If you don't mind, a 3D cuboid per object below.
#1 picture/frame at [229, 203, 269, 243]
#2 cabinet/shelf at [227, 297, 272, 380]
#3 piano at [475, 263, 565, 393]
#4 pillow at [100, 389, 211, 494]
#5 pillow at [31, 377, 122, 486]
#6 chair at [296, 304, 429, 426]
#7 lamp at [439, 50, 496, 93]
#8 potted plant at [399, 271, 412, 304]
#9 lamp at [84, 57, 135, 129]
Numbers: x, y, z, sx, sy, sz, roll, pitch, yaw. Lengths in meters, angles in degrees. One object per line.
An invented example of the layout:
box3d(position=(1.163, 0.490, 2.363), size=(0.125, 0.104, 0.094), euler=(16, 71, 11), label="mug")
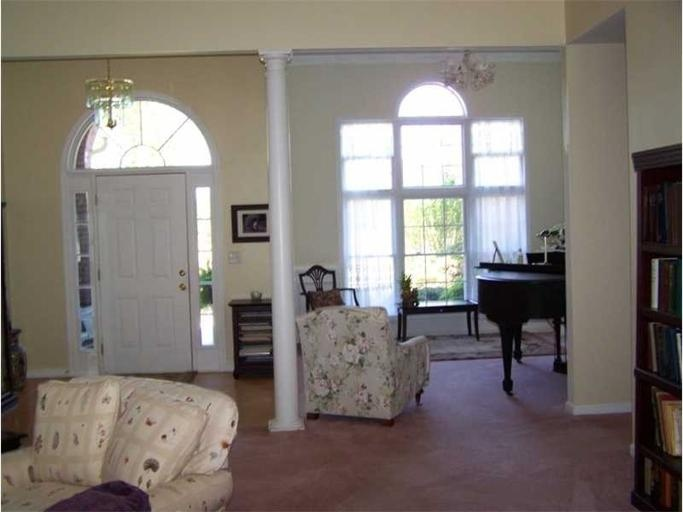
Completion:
box3d(position=(-1.073, -0.380, 6.848), size=(0.391, 0.422, 0.030), euler=(0, 0, -5), label="picture/frame")
box3d(position=(-0.981, 0.898, 6.808), size=(0.586, 0.871, 0.554), euler=(-4, 6, -21), label="cabinet/shelf")
box3d(position=(1.856, 0.712, 6.214), size=(1.303, 1.226, 0.791), euler=(-3, 11, -34), label="piano")
box3d(position=(-0.988, 1.009, 3.258), size=(0.444, 0.498, 0.203), euler=(9, -22, 36), label="pillow")
box3d(position=(-1.491, 1.022, 3.363), size=(0.452, 0.541, 0.177), euler=(-4, -18, 16), label="pillow")
box3d(position=(0.240, 0.917, 5.657), size=(0.874, 1.113, 1.172), euler=(-1, 2, 25), label="chair")
box3d(position=(1.326, -1.924, 6.164), size=(0.471, 0.395, 0.398), euler=(-8, 11, -36), label="lamp")
box3d(position=(0.902, 0.450, 8.236), size=(0.170, 0.409, 0.380), euler=(-1, 9, 5), label="potted plant")
box3d(position=(-2.280, -1.604, 5.829), size=(0.405, 0.745, 0.419), euler=(-5, 4, -20), label="lamp")
